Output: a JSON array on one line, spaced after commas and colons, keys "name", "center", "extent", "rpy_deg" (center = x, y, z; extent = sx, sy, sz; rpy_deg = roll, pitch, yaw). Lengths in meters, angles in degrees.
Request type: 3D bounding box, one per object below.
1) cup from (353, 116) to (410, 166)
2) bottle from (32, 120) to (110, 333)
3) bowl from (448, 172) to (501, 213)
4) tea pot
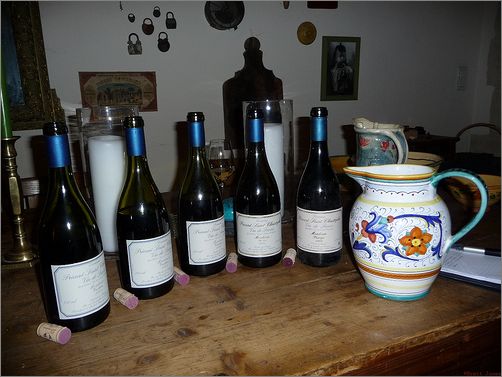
[{"name": "cup", "center": [0.336, -0.099, 1.036], "extent": [0.086, 0.144, 0.140], "rpy_deg": [-26, 34, -37]}, {"name": "bottle", "center": [-0.322, 0.104, 0.712], "extent": [0.109, 0.287, 0.107], "rpy_deg": [-4, 17, 1]}, {"name": "bowl", "center": [0.598, 0.006, 1.105], "extent": [0.141, 0.091, 0.146], "rpy_deg": [-5, 9, 1]}, {"name": "tea pot", "center": [0.314, 0.084, 0.790], "extent": [0.244, 0.256, 0.191], "rpy_deg": [4, 15, 35]}]
